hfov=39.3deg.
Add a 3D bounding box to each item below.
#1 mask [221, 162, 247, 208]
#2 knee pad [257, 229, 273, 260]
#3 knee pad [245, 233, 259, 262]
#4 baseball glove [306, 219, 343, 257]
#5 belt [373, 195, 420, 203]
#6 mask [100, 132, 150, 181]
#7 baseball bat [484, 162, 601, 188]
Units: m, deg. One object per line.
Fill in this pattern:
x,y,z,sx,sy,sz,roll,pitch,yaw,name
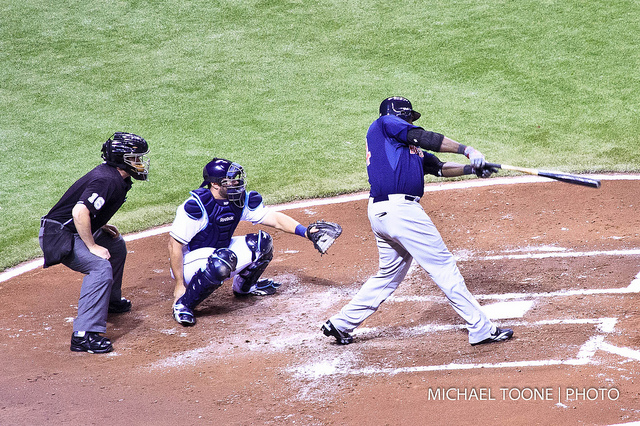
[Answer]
-0.985,-0.314,10.726,0.149,0.568,0.301,20,43,42,mask
-0.677,0.379,10.964,0.187,0.327,0.272,-7,29,10,knee pad
-0.794,0.406,10.939,0.189,0.305,0.248,-14,29,-3,knee pad
0.031,0.265,10.630,0.402,0.433,0.187,56,16,26,baseball glove
0.829,-0.166,9.948,0.476,0.088,0.074,-3,29,8,belt
-2.261,-0.723,10.820,0.751,0.515,0.531,-1,16,-9,mask
3.117,-0.512,12.432,2.140,0.178,0.120,9,69,4,baseball bat
